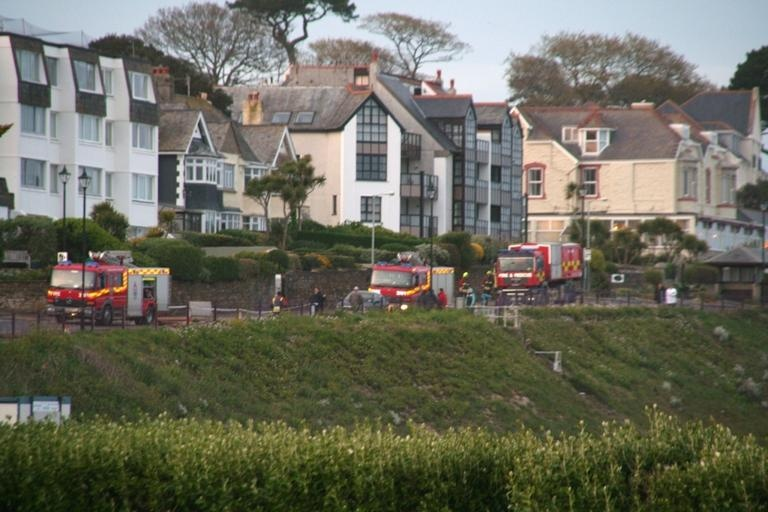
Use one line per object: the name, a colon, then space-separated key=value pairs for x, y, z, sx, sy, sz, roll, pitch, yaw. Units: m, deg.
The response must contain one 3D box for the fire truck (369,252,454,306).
fire truck: x=2.315 y=1.833 z=131.003 sx=3.360 sy=3.961 sz=9.618 roll=7 pitch=9 yaw=26
